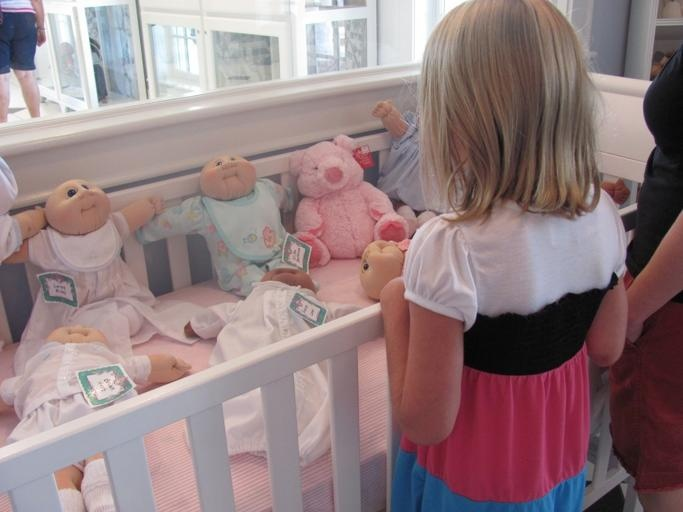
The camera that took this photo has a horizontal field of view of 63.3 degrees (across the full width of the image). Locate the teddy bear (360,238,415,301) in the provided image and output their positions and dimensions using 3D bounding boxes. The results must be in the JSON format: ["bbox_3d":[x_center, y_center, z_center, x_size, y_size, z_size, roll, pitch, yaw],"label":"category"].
[{"bbox_3d":[0.161,0.034,1.963,0.196,0.223,0.148,-5,20,-4],"label":"teddy bear"}]

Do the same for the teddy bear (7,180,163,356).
[{"bbox_3d":[-0.756,-0.039,1.785,0.616,0.241,0.196,-36,13,-39],"label":"teddy bear"}]

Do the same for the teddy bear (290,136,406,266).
[{"bbox_3d":[0.000,-0.223,2.211,0.421,0.482,0.370,-15,23,-1],"label":"teddy bear"}]
